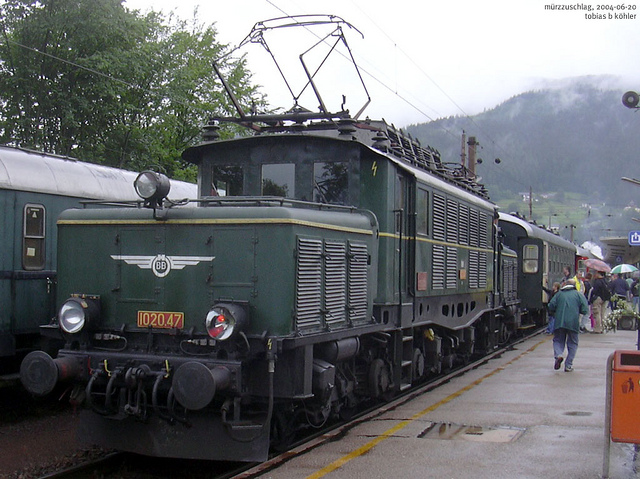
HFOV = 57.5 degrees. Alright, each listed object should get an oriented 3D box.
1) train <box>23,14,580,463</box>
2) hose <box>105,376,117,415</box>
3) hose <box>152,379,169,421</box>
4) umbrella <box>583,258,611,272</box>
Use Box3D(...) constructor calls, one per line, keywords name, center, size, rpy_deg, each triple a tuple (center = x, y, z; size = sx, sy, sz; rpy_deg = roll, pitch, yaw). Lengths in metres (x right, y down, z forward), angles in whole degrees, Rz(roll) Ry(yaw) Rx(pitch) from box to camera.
Box3D(name="train", center=(1.447, 0.154, 14.094), size=(3.908, 6.915, 15.283), rpy_deg=(-3, -3, 31))
Box3D(name="hose", center=(-2.705, 2.015, 7.537), size=(0.126, 0.513, 0.227), rpy_deg=(-1, -3, -21))
Box3D(name="hose", center=(-1.940, 2.045, 7.305), size=(0.073, 0.428, 0.414), rpy_deg=(-3, 11, 8))
Box3D(name="umbrella", center=(15.657, 1.436, 33.213), size=(1.321, 0.551, 1.399), rpy_deg=(6, 0, 33))
